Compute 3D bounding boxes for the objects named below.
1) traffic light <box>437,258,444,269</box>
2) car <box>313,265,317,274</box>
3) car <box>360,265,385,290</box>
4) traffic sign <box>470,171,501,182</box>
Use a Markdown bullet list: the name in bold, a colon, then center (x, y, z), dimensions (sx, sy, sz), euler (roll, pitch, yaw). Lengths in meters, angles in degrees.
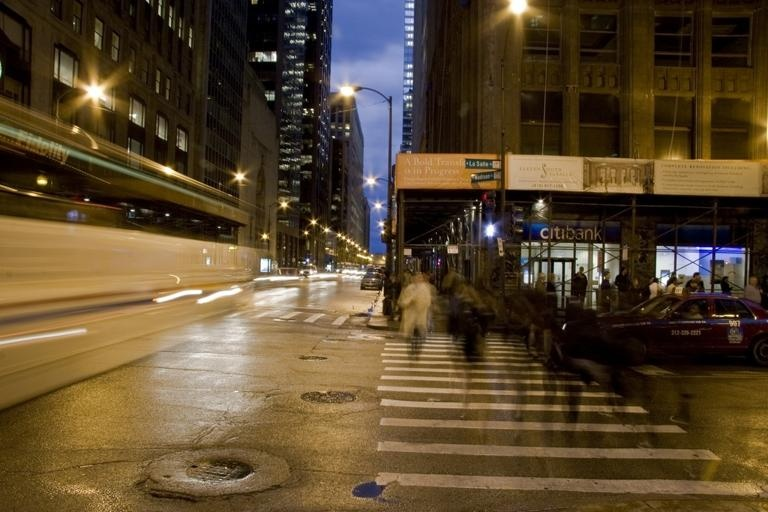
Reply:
- **traffic light**: center (3.868, 0.402, 48.749), dimensions (0.459, 0.902, 0.474), euler (2, -4, 1)
- **car**: center (-13.209, 2.292, 137.050), dimensions (0.835, 0.869, 1.582), euler (3, -40, -6)
- **car**: center (-0.908, 1.774, 60.359), dimensions (1.781, 1.524, 4.066), euler (0, -5, 4)
- **traffic sign**: center (4.230, -3.348, 29.900), dimensions (1.173, 0.443, 0.556), euler (2, 1, 5)
